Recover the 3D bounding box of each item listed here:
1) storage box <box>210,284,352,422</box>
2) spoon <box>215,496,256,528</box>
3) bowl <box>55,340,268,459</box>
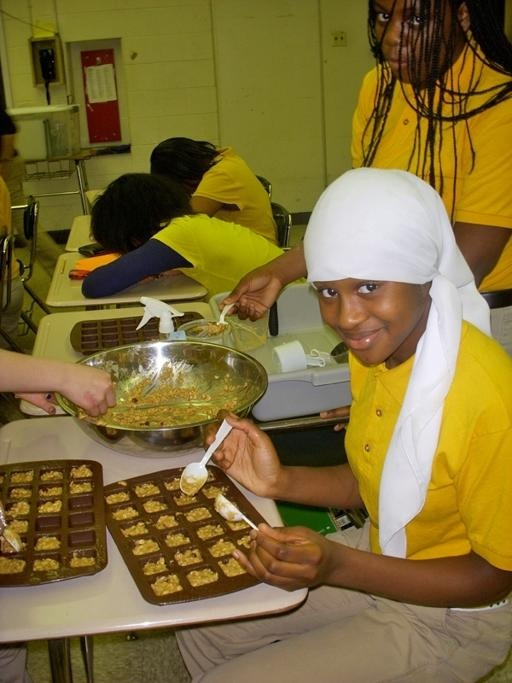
[{"bbox_3d":[0.124,0.057,1.598,0.398,0.123,0.422,-9,30,2],"label":"storage box"},{"bbox_3d":[-0.026,0.269,0.879,0.012,0.064,0.039,-54,23,-8],"label":"spoon"},{"bbox_3d":[-0.227,0.161,1.358,0.526,0.118,0.476,11,-31,-33],"label":"bowl"}]
